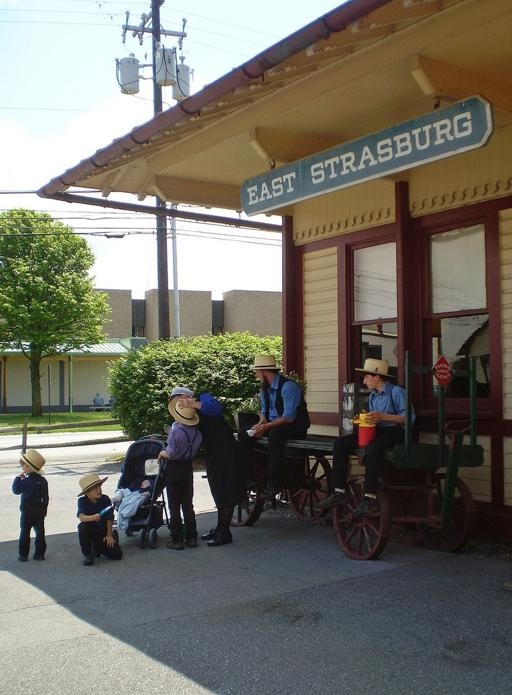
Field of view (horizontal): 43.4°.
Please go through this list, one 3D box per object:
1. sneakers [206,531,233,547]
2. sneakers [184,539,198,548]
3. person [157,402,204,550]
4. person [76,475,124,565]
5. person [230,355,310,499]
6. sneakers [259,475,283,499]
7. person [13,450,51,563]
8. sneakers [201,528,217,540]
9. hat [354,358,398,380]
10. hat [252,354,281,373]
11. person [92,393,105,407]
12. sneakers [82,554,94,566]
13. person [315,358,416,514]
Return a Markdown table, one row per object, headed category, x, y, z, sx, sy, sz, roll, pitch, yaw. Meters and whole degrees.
| category | x | y | z | sx | sy | sz | roll | pitch | yaw |
| --- | --- | --- | --- | --- | --- | --- | --- | --- | --- |
| sneakers | -0.366 | 1.933 | 6.552 | 0.262 | 0.127 | 0.260 | -1 | -6 | -2 |
| sneakers | -0.651 | 1.961 | 6.462 | 0.131 | 0.075 | 0.126 | -1 | -6 | -1 |
| person | -0.769 | 1.210 | 6.532 | 0.379 | 1.588 | 0.449 | -2 | -6 | 11 |
| person | -1.439 | 1.570 | 5.916 | 0.382 | 0.767 | 0.238 | 2 | -6 | -22 |
| person | 0.238 | 0.868 | 7.101 | 0.710 | 1.557 | 0.734 | 2 | -7 | -29 |
| sneakers | 0.167 | 1.488 | 6.832 | 0.191 | 0.167 | 0.408 | -3 | -17 | 7 |
| person | -2.157 | 1.478 | 6.147 | 0.319 | 0.999 | 0.560 | 1 | -6 | -20 |
| sneakers | -0.487 | 1.960 | 6.773 | 0.091 | 0.099 | 0.258 | 5 | -9 | -36 |
| hat | 1.228 | 0.242 | 6.280 | 0.401 | 0.141 | 0.332 | 15 | -8 | -16 |
| hat | 0.120 | 0.207 | 8.263 | 0.414 | 0.198 | 0.473 | -1 | -10 | 8 |
| person | -11.207 | 3.755 | 45.428 | 0.670 | 0.598 | 1.003 | -1 | 26 | -20 |
| sneakers | -1.509 | 1.902 | 5.781 | 0.090 | 0.082 | 0.117 | 1 | -6 | -16 |
| person | 1.131 | 0.777 | 5.945 | 0.768 | 1.372 | 0.851 | -6 | -8 | 43 |
